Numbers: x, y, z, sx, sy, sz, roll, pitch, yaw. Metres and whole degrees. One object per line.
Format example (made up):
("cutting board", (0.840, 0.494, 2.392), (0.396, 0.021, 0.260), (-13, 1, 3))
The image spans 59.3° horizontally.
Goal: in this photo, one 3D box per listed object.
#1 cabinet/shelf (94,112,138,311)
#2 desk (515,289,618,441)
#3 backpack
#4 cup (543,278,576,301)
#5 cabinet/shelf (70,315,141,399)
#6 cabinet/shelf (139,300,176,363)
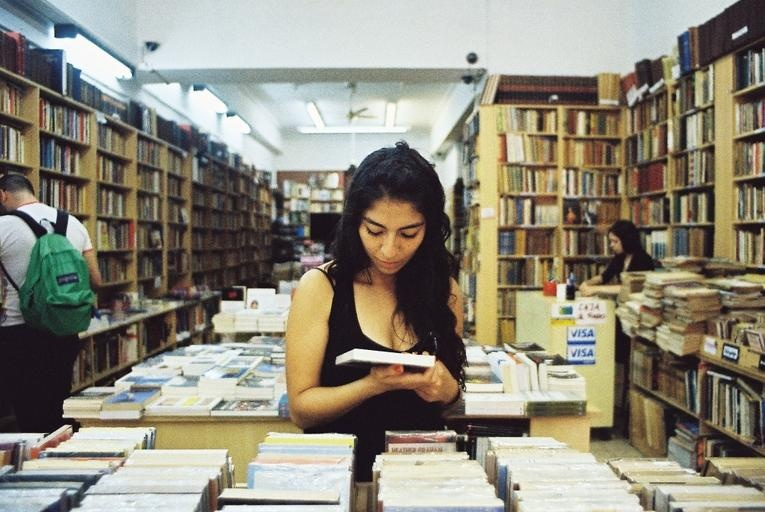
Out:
("cabinet/shelf", (-2.945, -0.471, 7.323), (0.159, 1.966, 0.627), (0, 1, 14))
("desk", (1.954, 1.068, 7.198), (0.659, 1.205, 1.275), (1, -2, -3))
("backpack", (-2.803, 0.153, 5.657), (0.624, 1.080, 0.375), (-1, 1, -31))
("cup", (1.804, 0.355, 6.832), (0.177, 0.109, 0.248), (1, 2, -29))
("cabinet/shelf", (-2.693, 0.966, 6.441), (0.243, 0.732, 0.791), (2, 8, 17))
("cabinet/shelf", (-2.513, 0.832, 7.420), (0.211, 0.612, 0.661), (0, 2, 16))
